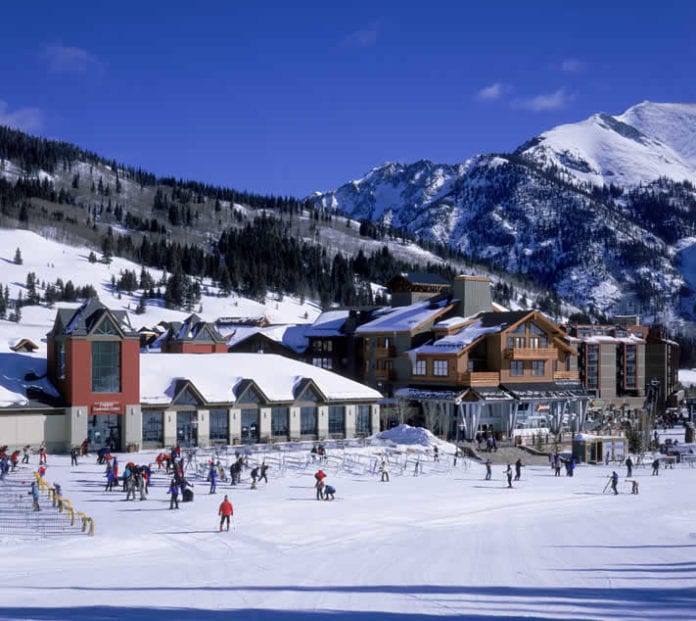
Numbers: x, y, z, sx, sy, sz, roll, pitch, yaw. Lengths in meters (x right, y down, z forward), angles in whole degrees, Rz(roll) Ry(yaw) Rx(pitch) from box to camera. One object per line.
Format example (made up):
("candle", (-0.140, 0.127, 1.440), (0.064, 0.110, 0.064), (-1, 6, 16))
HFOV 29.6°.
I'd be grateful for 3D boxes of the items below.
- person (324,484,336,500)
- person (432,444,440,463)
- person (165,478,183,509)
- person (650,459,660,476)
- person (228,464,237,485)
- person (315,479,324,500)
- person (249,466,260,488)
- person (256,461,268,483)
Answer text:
("person", (-1.034, 11.585, 83.364), (0.838, 0.966, 0.670), (-6, 3, -16))
("person", (6.682, 10.976, 99.904), (0.708, 1.183, 1.847), (2, 1, 1))
("person", (-10.674, 11.157, 81.113), (0.689, 1.672, 3.000), (2, 6, -7))
("person", (24.230, 12.389, 103.686), (0.473, 1.284, 1.858), (3, 5, 11))
("person", (-7.560, 10.894, 87.471), (0.429, 1.402, 0.705), (2, 5, -4))
("person", (-1.776, 11.412, 84.166), (0.537, 1.275, 1.730), (2, 5, -1))
("person", (-6.182, 11.139, 87.276), (0.601, 1.760, 0.461), (13, -3, -29))
("person", (-5.681, 11.002, 88.361), (0.871, 1.857, 0.379), (6, 10, -17))
